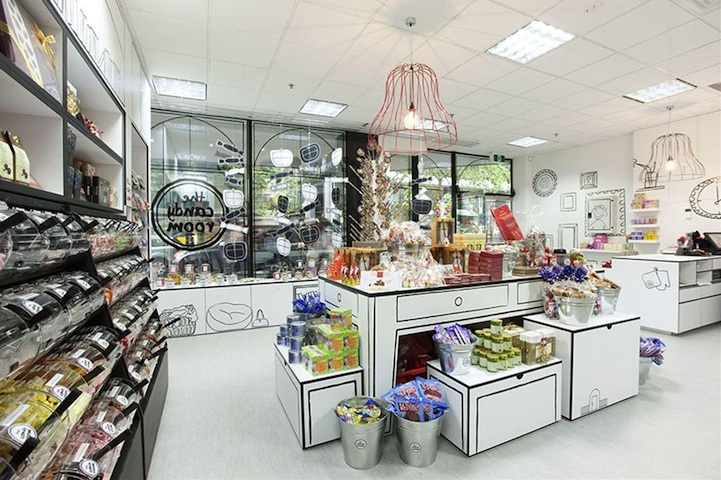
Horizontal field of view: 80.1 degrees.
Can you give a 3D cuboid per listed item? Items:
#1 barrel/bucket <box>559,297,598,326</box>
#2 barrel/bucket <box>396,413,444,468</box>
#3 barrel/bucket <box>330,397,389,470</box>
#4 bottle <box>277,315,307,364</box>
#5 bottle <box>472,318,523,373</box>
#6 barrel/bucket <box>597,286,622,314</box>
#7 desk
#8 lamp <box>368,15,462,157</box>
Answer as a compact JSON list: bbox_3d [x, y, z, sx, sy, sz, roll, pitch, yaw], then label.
[{"bbox_3d":[2.205,0.706,4.343,0.291,0.189,0.289,2,-3,0],"label":"barrel/bucket"},{"bbox_3d":[0.512,1.764,3.812,0.424,0.318,0.379,-2,-9,26],"label":"barrel/bucket"},{"bbox_3d":[-0.014,1.738,3.890,0.470,0.430,0.512,0,-7,0],"label":"barrel/bucket"},{"bbox_3d":[-0.679,0.981,4.279,0.195,0.311,0.594,2,6,-5],"label":"bottle"},{"bbox_3d":[1.319,1.009,4.124,0.441,0.306,0.482,-1,3,0],"label":"bottle"},{"bbox_3d":[2.715,0.656,4.673,0.282,0.252,0.259,3,-3,0],"label":"barrel/bucket"},{"bbox_3d":[1.041,1.077,4.582,2.517,1.049,1.794,-1,0,-28],"label":"desk"},{"bbox_3d":[0.829,-2.496,7.090,1.732,2.422,1.594,0,-5,6],"label":"lamp"}]
